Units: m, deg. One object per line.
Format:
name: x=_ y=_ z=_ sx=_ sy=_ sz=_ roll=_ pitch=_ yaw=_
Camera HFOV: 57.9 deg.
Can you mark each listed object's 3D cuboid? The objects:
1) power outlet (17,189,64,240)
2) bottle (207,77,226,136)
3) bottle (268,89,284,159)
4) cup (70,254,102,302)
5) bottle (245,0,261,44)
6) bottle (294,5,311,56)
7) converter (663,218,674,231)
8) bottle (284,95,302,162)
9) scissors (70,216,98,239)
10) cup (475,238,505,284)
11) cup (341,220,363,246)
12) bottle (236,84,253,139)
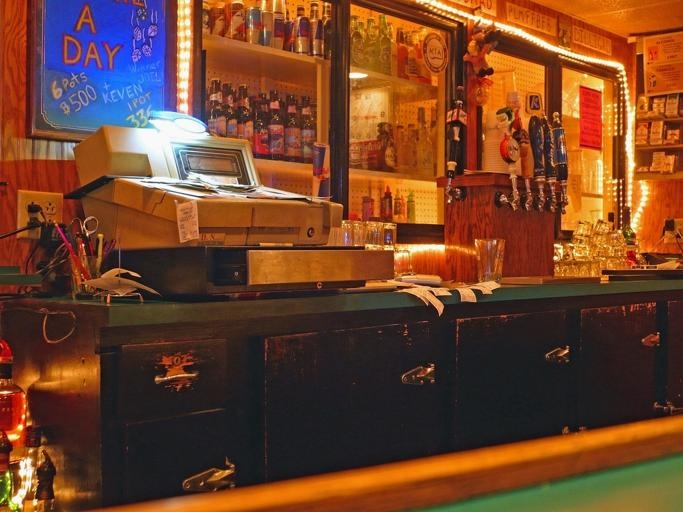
power outlet: x=-1.094 y=-0.146 z=2.233 sx=0.024 sy=0.197 sz=0.164 roll=-11 pitch=-11 yaw=42
bottle: x=-0.679 y=-0.807 z=3.352 sx=0.095 sy=0.327 sz=0.236 roll=-1 pitch=3 yaw=-12
bottle: x=-0.361 y=-0.728 z=3.426 sx=0.092 sy=0.387 sz=0.171 roll=-1 pitch=3 yaw=-5
cup: x=-0.761 y=0.059 z=1.832 sx=0.159 sy=0.124 sz=0.052 roll=2 pitch=3 yaw=37
bottle: x=-0.455 y=-1.226 z=3.292 sx=0.059 sy=0.207 sz=0.113 roll=2 pitch=3 yaw=44
bottle: x=-0.217 y=-1.269 z=3.489 sx=0.087 sy=0.292 sz=0.156 roll=-1 pitch=3 yaw=-3
converter: x=2.512 y=-0.244 z=4.749 sx=0.102 sy=0.105 sz=0.024 roll=-2 pitch=10 yaw=-35
bottle: x=-0.274 y=-0.726 z=3.505 sx=0.088 sy=0.370 sz=0.238 roll=-1 pitch=3 yaw=-4
scissors: x=-0.867 y=-0.096 z=2.083 sx=0.079 sy=0.092 sz=0.009 roll=-2 pitch=-11 yaw=-3
cup: x=0.602 y=0.019 z=2.528 sx=0.152 sy=0.216 sz=0.148 roll=0 pitch=-5 yaw=0
cup: x=0.038 y=-0.086 z=2.268 sx=0.083 sy=0.095 sz=0.081 roll=1 pitch=4 yaw=0
bottle: x=-0.530 y=-0.774 z=3.370 sx=0.089 sy=0.326 sz=0.212 roll=-1 pitch=3 yaw=-9
